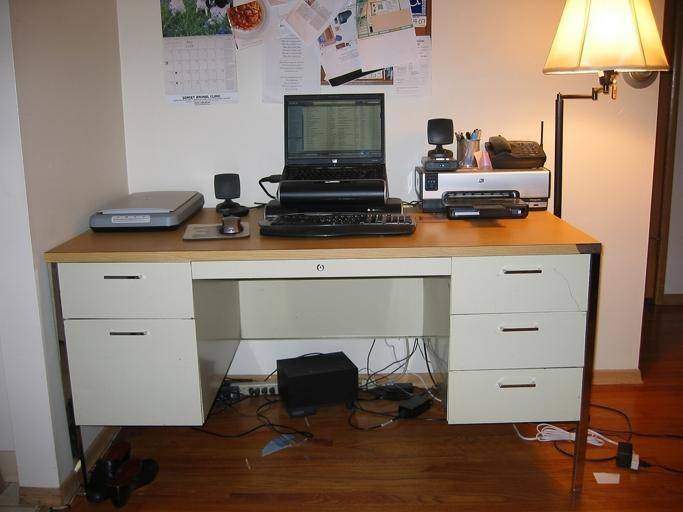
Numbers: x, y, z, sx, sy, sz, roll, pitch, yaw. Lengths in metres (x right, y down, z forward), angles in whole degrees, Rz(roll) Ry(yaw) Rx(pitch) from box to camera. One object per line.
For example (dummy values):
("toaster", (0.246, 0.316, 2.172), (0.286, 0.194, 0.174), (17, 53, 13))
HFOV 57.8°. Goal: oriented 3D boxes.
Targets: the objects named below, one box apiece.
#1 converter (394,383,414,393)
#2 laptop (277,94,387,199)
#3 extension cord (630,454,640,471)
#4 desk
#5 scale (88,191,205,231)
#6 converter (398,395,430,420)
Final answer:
("converter", (0.307, 0.642, 3.022), (0.060, 0.028, 0.042), (1, 1, 1))
("laptop", (-0.039, -0.460, 2.600), (0.444, 0.437, 0.301), (-2, 15, 3))
("extension cord", (1.186, 0.826, 2.512), (0.033, 0.055, 0.097), (5, 16, 26))
("desk", (-0.057, 0.388, 2.610), (2.000, 0.936, 0.703), (-1, 8, 0))
("scale", (-0.783, -0.222, 2.631), (0.372, 0.175, 0.397), (3, 18, 2))
("converter", (0.335, 0.698, 2.865), (0.138, 0.047, 0.074), (-12, 16, -40))
